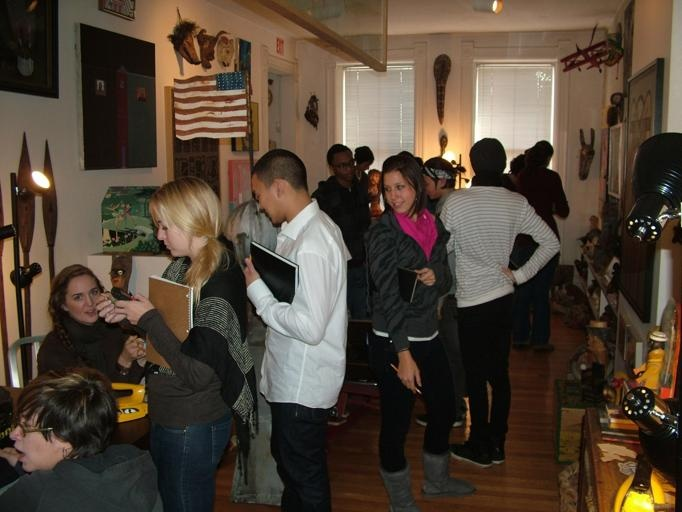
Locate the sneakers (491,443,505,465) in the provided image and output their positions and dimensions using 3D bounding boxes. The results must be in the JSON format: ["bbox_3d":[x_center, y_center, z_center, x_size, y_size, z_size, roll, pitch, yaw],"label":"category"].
[{"bbox_3d":[1.083,1.378,3.685,0.074,0.137,0.134,3,12,11],"label":"sneakers"}]

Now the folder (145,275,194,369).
[{"bbox_3d":[-0.681,0.273,2.109,0.044,0.473,0.302,-6,11,-44],"label":"folder"}]

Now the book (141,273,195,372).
[{"bbox_3d":[-0.686,0.270,2.118,0.338,0.529,0.049,8,9,44],"label":"book"}]

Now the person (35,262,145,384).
[{"bbox_3d":[-1.468,0.466,3.078,0.439,0.829,0.533,-7,7,41],"label":"person"}]

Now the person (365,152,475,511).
[{"bbox_3d":[0.433,0.493,2.888,0.583,2.065,0.386,-8,11,-42],"label":"person"}]

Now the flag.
[{"bbox_3d":[-1.048,-1.203,4.192,0.951,0.793,0.079,1,0,30],"label":"flag"}]

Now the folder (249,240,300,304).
[{"bbox_3d":[-0.289,0.079,2.321,0.209,0.243,0.024,31,46,25],"label":"folder"}]

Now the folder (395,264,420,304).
[{"bbox_3d":[0.350,0.097,2.704,0.107,0.124,0.028,-9,46,15],"label":"folder"}]
